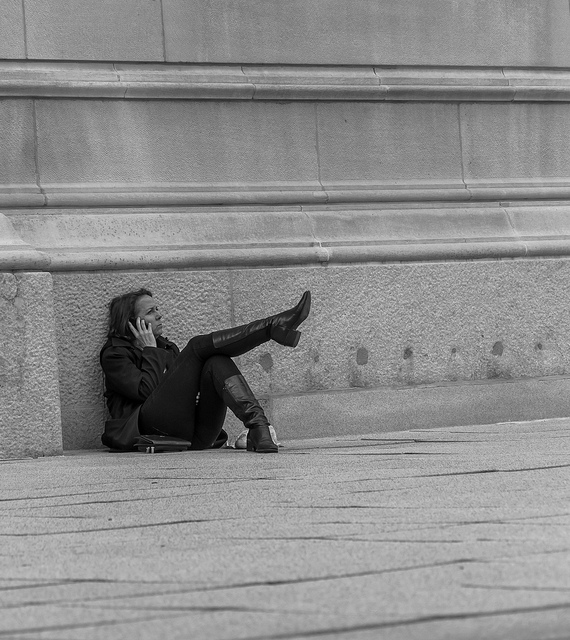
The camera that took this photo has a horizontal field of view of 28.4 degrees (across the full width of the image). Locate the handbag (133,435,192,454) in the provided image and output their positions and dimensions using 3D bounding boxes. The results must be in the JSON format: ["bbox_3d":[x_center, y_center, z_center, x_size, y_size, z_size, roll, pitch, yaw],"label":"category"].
[{"bbox_3d":[-0.500,0.502,4.578,0.221,0.065,0.138,-1,2,-7],"label":"handbag"}]

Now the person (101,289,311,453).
[{"bbox_3d":[-0.347,0.209,4.636,1.003,0.660,0.467,-6,-4,37],"label":"person"}]

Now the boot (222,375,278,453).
[{"bbox_3d":[-0.136,0.365,4.309,0.144,0.295,0.324,-2,3,-21],"label":"boot"}]
